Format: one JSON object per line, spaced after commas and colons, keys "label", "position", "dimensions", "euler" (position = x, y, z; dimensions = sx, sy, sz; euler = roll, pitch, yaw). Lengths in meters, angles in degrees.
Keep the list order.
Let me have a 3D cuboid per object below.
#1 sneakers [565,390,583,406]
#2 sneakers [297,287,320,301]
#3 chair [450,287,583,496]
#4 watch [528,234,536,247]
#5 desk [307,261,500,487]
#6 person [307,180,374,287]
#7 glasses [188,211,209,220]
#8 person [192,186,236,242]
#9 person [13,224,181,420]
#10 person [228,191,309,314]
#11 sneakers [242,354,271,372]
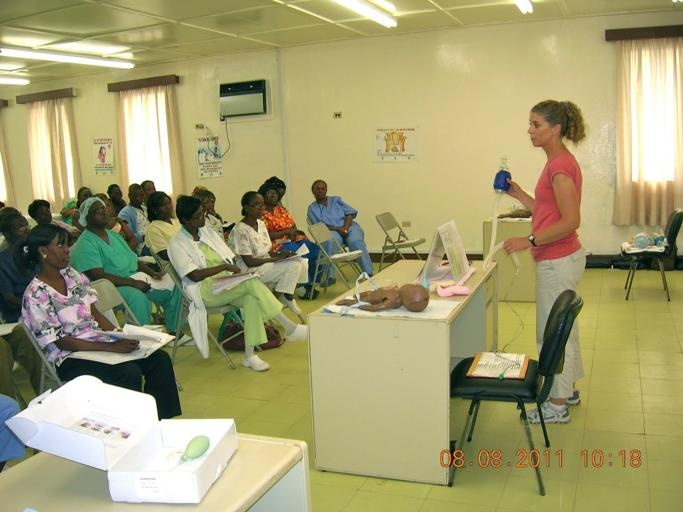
{"label": "sneakers", "position": [1.633, 1.002, 3.608], "dimensions": [0.088, 0.100, 0.221], "euler": [2, 9, 25]}
{"label": "sneakers", "position": [-0.457, 0.492, 6.766], "dimensions": [0.297, 0.205, 0.138], "euler": [0, 8, 12]}
{"label": "chair", "position": [0.965, 0.709, 2.868], "dimensions": [0.684, 1.023, 0.563], "euler": [0, 12, 17]}
{"label": "watch", "position": [1.163, -0.100, 3.140], "dimensions": [0.025, 0.063, 0.052], "euler": [-3, -2, 17]}
{"label": "desk", "position": [0.445, 0.764, 3.284], "dimensions": [0.979, 0.967, 2.070], "euler": [2, 5, 20]}
{"label": "person", "position": [-0.045, -0.357, 7.555], "dimensions": [0.828, 1.535, 0.921], "euler": [-21, 21, -17]}
{"label": "glasses", "position": [-1.243, -0.356, 4.454], "dimensions": [0.051, 0.084, 0.136], "euler": [4, 14, 31]}
{"label": "person", "position": [-1.885, -0.563, 7.362], "dimensions": [0.537, 0.813, 0.540], "euler": [-15, -16, 33]}
{"label": "person", "position": [-1.531, 0.448, 3.209], "dimensions": [0.805, 1.318, 0.372], "euler": [-4, 12, -4]}
{"label": "person", "position": [-0.783, -0.008, 5.483], "dimensions": [0.763, 1.301, 0.638], "euler": [1, 13, 21]}
{"label": "sneakers", "position": [-0.761, 0.927, 4.526], "dimensions": [0.226, 0.094, 0.120], "euler": [6, 10, 28]}
